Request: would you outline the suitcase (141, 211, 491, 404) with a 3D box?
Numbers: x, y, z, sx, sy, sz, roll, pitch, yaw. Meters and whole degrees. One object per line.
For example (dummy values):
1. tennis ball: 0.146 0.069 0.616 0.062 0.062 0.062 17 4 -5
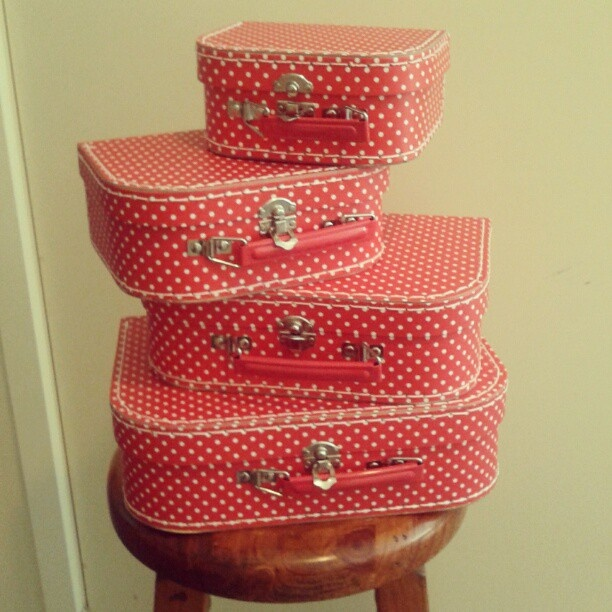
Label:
1. suitcase: 0.018 -0.009 1.187 0.450 0.160 0.381 3 25 11
